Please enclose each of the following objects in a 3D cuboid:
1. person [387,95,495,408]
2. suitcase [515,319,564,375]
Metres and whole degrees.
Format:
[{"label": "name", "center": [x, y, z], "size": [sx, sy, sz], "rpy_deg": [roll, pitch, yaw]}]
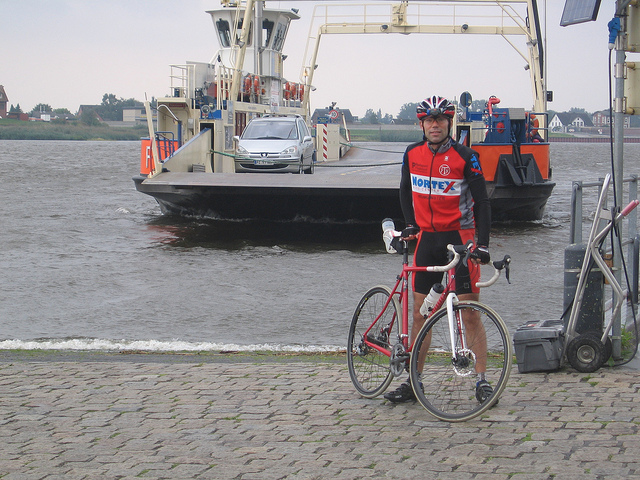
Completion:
[{"label": "person", "center": [1.122, 0.099, 10.785], "size": [0.899, 2.737, 0.948], "rpy_deg": [1, 11, 3]}, {"label": "suitcase", "center": [2.173, 1.005, 11.633], "size": [0.510, 0.394, 0.675], "rpy_deg": [-5, 2, 20]}]
